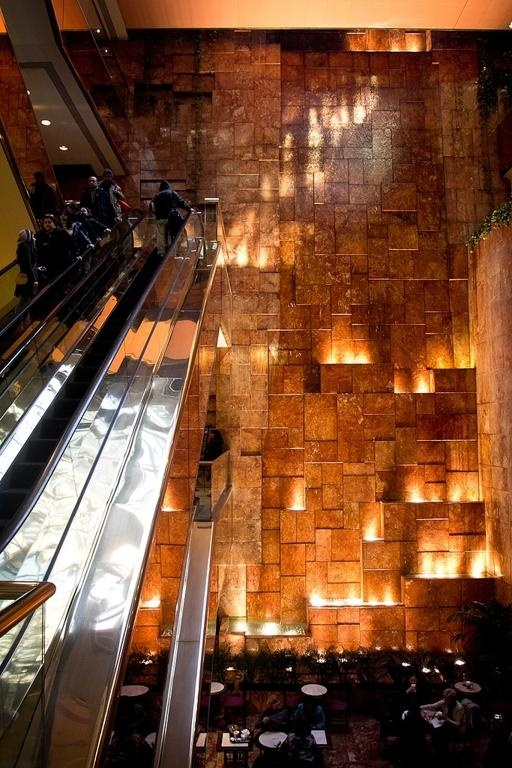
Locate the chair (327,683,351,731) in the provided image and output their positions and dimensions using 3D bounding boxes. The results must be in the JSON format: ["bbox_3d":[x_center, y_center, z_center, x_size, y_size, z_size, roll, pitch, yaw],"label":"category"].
[{"bbox_3d":[1.064,4.192,7.513,0.302,0.577,0.333,-1,-4,0],"label":"chair"}]

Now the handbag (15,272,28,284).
[{"bbox_3d":[-2.069,-0.925,5.047,0.070,0.089,0.141,7,17,15],"label":"handbag"}]

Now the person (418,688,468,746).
[{"bbox_3d":[2.079,3.719,6.399,0.476,0.748,0.369,0,5,-12],"label":"person"}]

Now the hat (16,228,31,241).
[{"bbox_3d":[-2.088,-1.334,5.192,0.101,0.109,0.240,-3,18,-21],"label":"hat"}]
